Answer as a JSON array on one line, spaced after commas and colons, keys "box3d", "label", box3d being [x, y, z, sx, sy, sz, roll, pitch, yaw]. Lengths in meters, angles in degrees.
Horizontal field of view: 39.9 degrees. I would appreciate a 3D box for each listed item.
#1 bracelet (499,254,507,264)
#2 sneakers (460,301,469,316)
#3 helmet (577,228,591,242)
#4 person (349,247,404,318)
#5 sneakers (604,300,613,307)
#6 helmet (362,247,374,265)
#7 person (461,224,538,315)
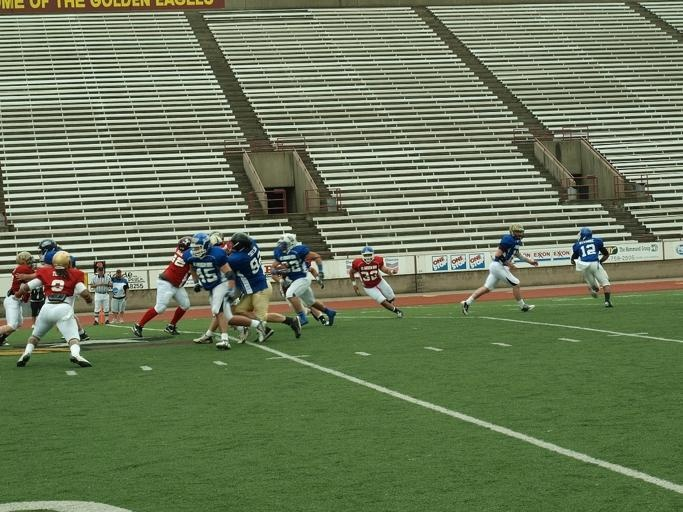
[{"box3d": [3.298, 0.094, 18.890, 0.094, 0.115, 0.271, -41, -25, -1], "label": "bracelet"}, {"box3d": [2.528, 1.105, 19.020, 0.191, 0.339, 0.124, -9, 31, -1], "label": "sneakers"}, {"box3d": [5.308, -0.437, 20.126, 0.286, 0.258, 0.309, 2, 8, 0], "label": "helmet"}, {"box3d": [0.688, 0.537, 19.404, 0.973, 1.427, 0.894, -3, 8, -4], "label": "person"}, {"box3d": [5.531, 1.020, 19.309, 0.115, 0.105, 0.283, -3, -8, 15], "label": "sneakers"}, {"box3d": [0.565, 0.000, 19.299, 0.235, 0.328, 0.491, -2, 8, 1], "label": "helmet"}, {"box3d": [3.345, 0.294, 19.126, 1.224, 1.856, 1.306, 2, 9, 25], "label": "person"}]
